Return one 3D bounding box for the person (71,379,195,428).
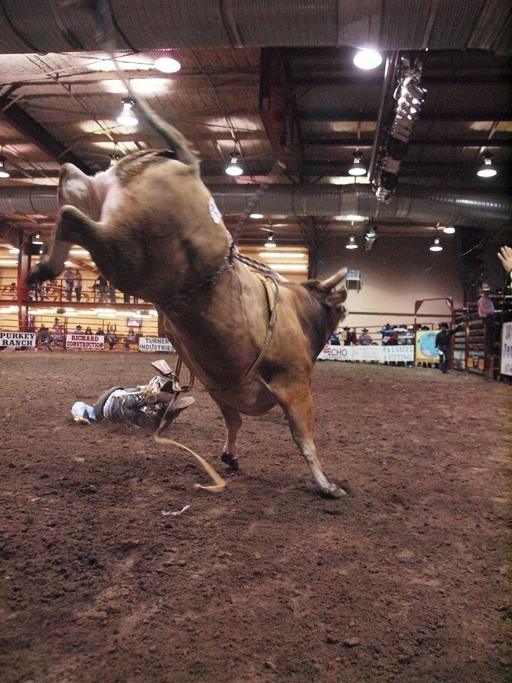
[{"bbox_3d":[-1.297,0.588,4.908,1.277,0.497,0.630,2,-6,16],"label":"person"}]

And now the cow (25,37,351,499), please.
[{"bbox_3d":[-0.274,-0.200,2.497,0.373,1.755,1.482,6,6,43],"label":"cow"}]
